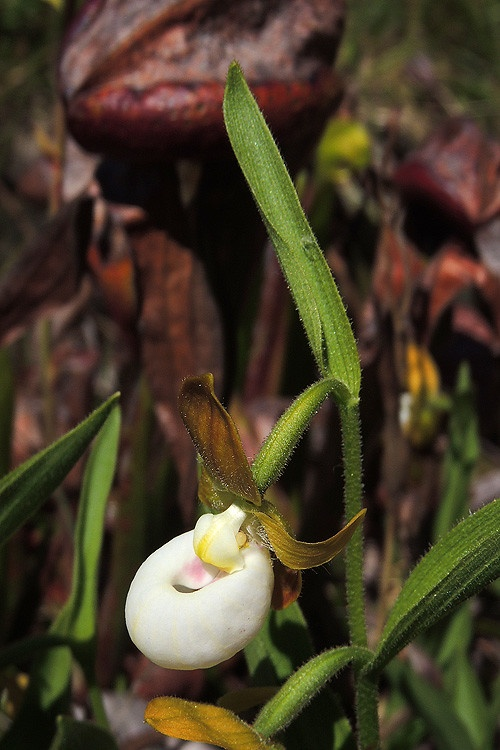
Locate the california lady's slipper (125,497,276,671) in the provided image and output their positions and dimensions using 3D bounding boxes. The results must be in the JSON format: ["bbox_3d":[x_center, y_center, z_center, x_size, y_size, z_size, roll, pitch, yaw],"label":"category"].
[{"bbox_3d":[-0.029,0.114,0.382,0.072,0.042,0.086,27,70,36],"label":"california lady's slipper"}]
